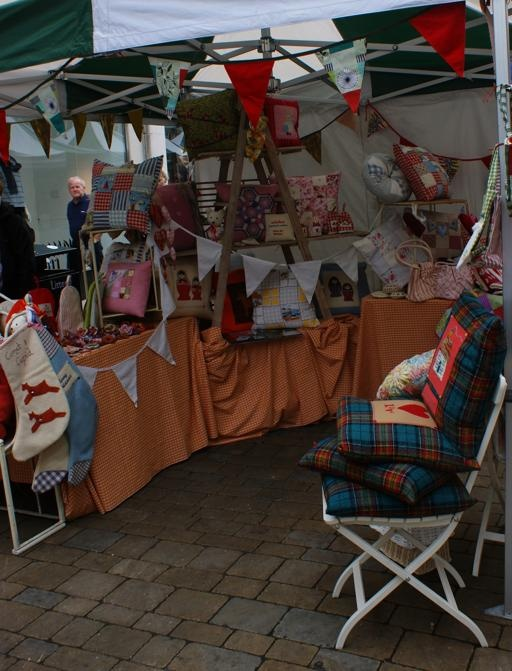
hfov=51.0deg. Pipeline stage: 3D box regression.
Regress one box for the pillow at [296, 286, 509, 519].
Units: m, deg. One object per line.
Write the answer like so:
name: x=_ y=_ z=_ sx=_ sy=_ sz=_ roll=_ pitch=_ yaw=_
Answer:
pillow: x=0.389 y=0.127 z=1.910 sx=0.726 sy=0.677 sz=0.811 roll=0 pitch=8 yaw=8

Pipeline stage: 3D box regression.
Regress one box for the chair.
chair: x=0.500 y=0.619 z=2.382 sx=0.995 sy=1.306 sz=0.812 roll=-1 pitch=1 yaw=5

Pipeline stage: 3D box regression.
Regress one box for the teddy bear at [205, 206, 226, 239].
teddy bear: x=-0.323 y=-0.904 z=4.385 sx=0.169 sy=0.266 sz=0.146 roll=-7 pitch=5 yaw=-2

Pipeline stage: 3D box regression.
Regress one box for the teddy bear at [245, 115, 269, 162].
teddy bear: x=0.006 y=-1.545 z=4.239 sx=0.189 sy=0.306 sz=0.451 roll=-7 pitch=5 yaw=-1

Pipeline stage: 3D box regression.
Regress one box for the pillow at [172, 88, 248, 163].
pillow: x=-0.324 y=-1.695 z=4.353 sx=0.601 sy=0.511 sz=0.208 roll=6 pitch=25 yaw=27

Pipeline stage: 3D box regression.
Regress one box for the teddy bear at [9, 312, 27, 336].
teddy bear: x=-1.206 y=-0.054 z=2.735 sx=0.073 sy=0.088 sz=0.087 roll=20 pitch=18 yaw=-7

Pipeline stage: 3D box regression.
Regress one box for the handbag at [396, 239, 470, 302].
handbag: x=1.421 y=-0.493 z=4.191 sx=0.555 sy=0.447 sz=0.342 roll=-1 pitch=19 yaw=6
